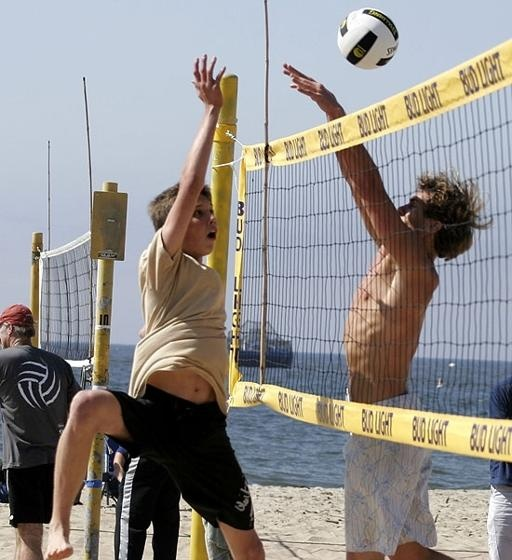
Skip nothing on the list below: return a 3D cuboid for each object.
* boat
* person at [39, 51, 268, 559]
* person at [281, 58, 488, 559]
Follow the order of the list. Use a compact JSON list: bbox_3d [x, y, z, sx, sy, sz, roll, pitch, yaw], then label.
[{"bbox_3d":[0.037,0.380,5.311,0.351,0.407,0.097,-6,-7,33],"label":"boat"},{"bbox_3d":[-0.397,0.092,3.864,0.880,2.135,0.363,2,-4,-28],"label":"person"},{"bbox_3d":[0.606,0.137,4.343,0.454,2.311,0.866,3,-5,-42],"label":"person"}]
